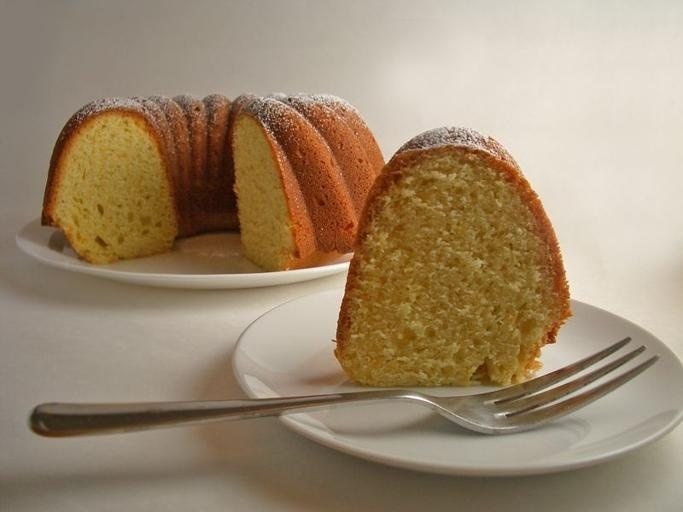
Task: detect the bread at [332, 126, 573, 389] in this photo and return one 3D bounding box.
[{"bbox_3d":[0.194,0.034,1.255,0.554,0.528,0.189,-1,3,-4],"label":"bread"}]

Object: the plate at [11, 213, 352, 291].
[{"bbox_3d":[-0.393,-0.005,1.826,0.832,0.132,0.594,2,4,-15],"label":"plate"}]
